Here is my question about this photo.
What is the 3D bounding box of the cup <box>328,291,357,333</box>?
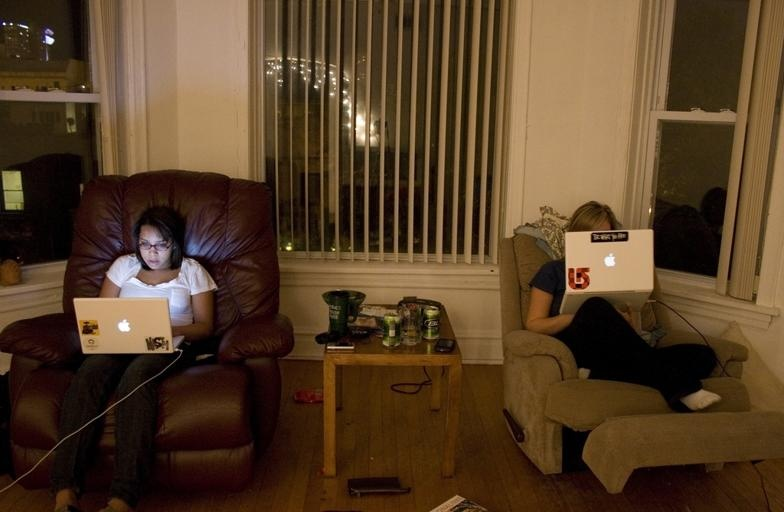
[{"bbox_3d":[-0.288,0.308,3.495,0.216,0.299,0.186,2,7,1],"label":"cup"}]

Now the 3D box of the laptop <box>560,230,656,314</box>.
[{"bbox_3d":[1.288,0.058,3.464,0.436,0.369,0.528,4,-6,-39],"label":"laptop"}]

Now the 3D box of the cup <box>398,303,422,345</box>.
[{"bbox_3d":[0.096,0.361,3.387,0.157,0.225,0.154,0,-1,0],"label":"cup"}]

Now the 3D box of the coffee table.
[{"bbox_3d":[0.023,0.719,3.587,0.751,0.800,0.907,1,12,5],"label":"coffee table"}]

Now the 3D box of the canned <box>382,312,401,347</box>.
[{"bbox_3d":[0.002,0.388,3.305,0.113,0.176,0.112,-4,13,-29],"label":"canned"}]

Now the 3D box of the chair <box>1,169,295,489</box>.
[{"bbox_3d":[-1.209,0.345,3.708,1.757,1.541,1.690,0,13,1],"label":"chair"}]

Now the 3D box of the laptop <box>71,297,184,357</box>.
[{"bbox_3d":[-1.352,0.354,3.077,0.447,0.274,0.299,1,31,-3],"label":"laptop"}]
